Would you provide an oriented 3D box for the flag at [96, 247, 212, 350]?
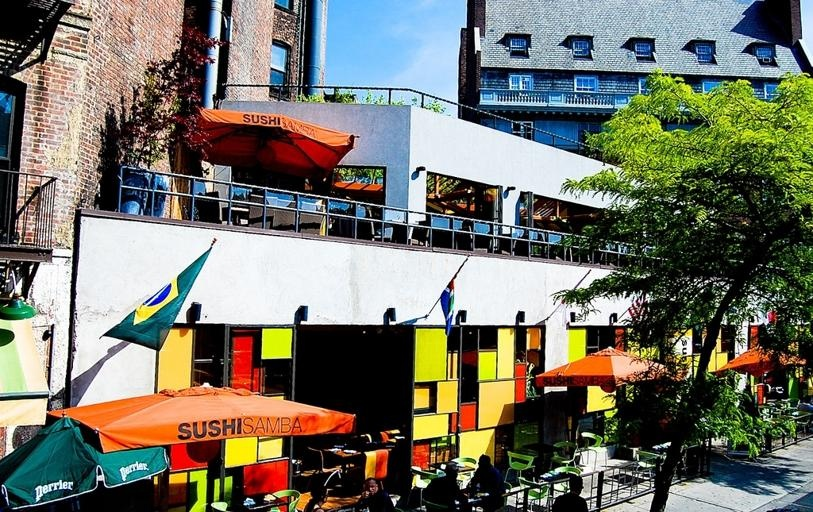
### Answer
[{"bbox_3d":[-7.051,1.177,28.123,2.392,2.798,0.734,6,-4,-14],"label":"flag"}]

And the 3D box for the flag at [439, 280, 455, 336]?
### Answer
[{"bbox_3d":[1.308,1.645,32.741,0.607,1.740,0.191,8,-5,-42],"label":"flag"}]

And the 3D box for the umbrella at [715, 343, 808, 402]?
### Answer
[{"bbox_3d":[12.179,3.676,34.092,2.579,0.877,2.604,-6,-16,8],"label":"umbrella"}]
